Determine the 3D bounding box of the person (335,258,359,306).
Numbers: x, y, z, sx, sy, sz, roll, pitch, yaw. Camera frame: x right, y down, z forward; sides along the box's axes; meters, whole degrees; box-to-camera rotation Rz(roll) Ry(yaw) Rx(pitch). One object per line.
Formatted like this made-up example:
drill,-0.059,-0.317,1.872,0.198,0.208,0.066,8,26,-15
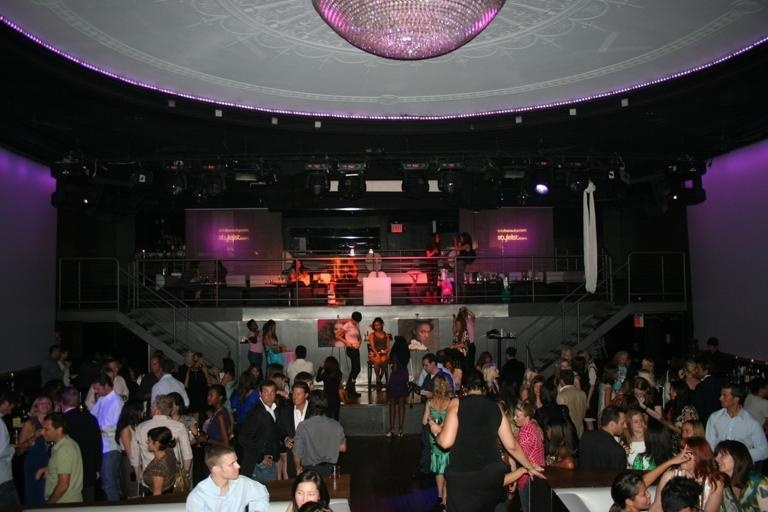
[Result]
person,-0.995,0.654,18.941,0.859,1.235,0.788,-5,15,-12

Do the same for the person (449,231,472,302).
person,2.051,0.259,17.073,0.573,1.863,1.166,0,-4,6

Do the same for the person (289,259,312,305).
person,-2.342,0.527,17.700,0.713,0.522,1.648,-1,-44,-8

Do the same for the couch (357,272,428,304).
couch,0.438,0.837,17.742,1.303,1.016,3.172,-1,-4,13

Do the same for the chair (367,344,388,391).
chair,-0.159,2.262,13.896,0.551,0.797,0.461,9,12,8

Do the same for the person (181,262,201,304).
person,-5.410,0.797,18.383,0.479,0.269,1.134,-3,23,-12

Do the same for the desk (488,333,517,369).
desk,2.812,2.387,15.886,0.766,0.883,0.826,-3,-8,33

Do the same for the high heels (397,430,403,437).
high heels,0.326,3.552,13.120,0.139,0.130,0.084,7,-13,-13

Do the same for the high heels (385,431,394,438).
high heels,0.122,3.561,13.130,0.191,0.100,0.188,0,-4,9
